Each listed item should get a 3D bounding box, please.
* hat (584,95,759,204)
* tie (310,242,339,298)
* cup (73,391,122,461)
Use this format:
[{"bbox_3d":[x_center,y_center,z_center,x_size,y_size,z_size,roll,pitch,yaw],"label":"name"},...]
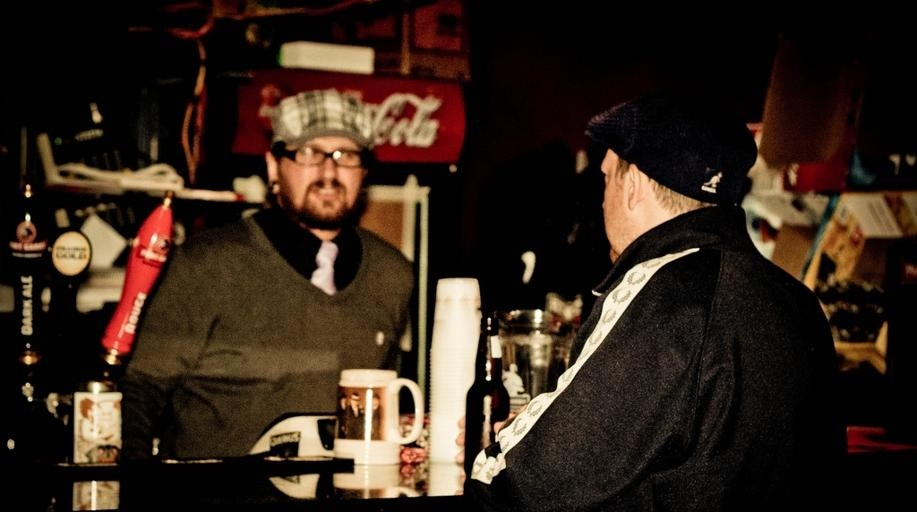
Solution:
[{"bbox_3d":[0.800,-0.393,3.752,0.511,0.226,0.357,35,28,6],"label":"hat"},{"bbox_3d":[-0.577,0.055,4.483,0.139,0.211,0.054,-7,5,-31],"label":"tie"},{"bbox_3d":[-1.407,0.656,3.972,0.218,0.269,0.130,3,-5,4],"label":"cup"}]
